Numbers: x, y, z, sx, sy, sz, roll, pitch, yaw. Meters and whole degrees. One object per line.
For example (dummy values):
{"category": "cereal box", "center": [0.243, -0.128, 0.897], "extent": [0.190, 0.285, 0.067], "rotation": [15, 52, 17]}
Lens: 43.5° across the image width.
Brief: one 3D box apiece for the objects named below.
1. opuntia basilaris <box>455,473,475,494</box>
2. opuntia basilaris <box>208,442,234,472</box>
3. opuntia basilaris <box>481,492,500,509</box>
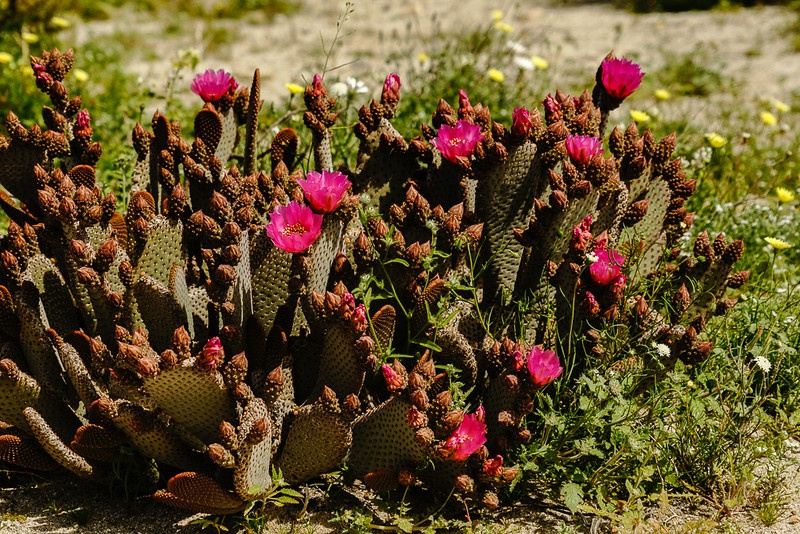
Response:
{"category": "opuntia basilaris", "center": [0.306, 1.034, 4.864], "extent": [0.091, 0.084, 0.083], "rotation": [46, -5, 7]}
{"category": "opuntia basilaris", "center": [-0.831, 0.892, 4.706], "extent": [0.123, 0.145, 0.064], "rotation": [-1, 28, -10]}
{"category": "opuntia basilaris", "center": [0.438, 1.130, 4.874], "extent": [0.081, 0.068, 0.069], "rotation": [42, 78, -1]}
